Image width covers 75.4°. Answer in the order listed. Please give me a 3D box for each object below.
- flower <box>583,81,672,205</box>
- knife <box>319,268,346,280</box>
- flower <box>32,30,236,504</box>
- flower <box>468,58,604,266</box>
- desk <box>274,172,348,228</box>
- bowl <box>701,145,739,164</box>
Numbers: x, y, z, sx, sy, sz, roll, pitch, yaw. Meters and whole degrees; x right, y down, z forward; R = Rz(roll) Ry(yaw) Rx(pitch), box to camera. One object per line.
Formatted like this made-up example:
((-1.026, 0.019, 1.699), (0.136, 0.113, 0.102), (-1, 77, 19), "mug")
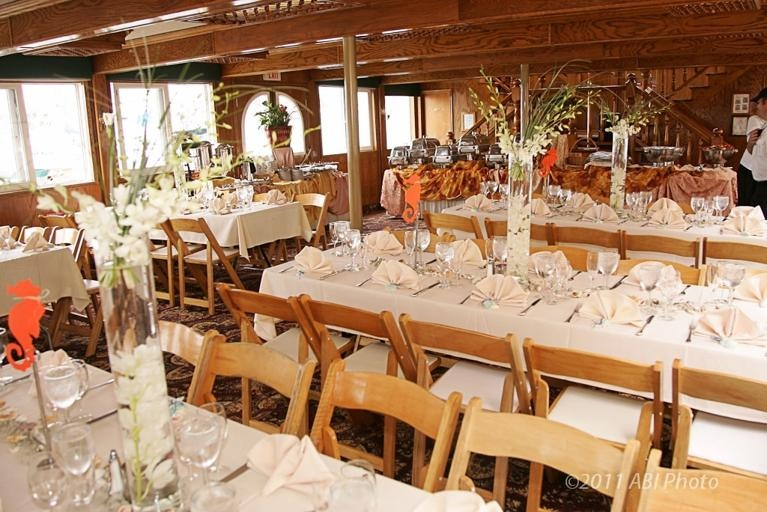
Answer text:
((3.211, -1.365, 6.196), (1.102, 1.488, 1.014), (-4, 16, -30), "flower")
((-0.373, 0.126, 3.653), (0.065, 0.021, 0.202), (18, 20, 38), "knife")
((-0.716, 0.100, 1.474), (0.422, 1.369, 0.359), (-9, 13, -30), "flower")
((0.875, -0.529, 3.328), (0.663, 1.129, 0.545), (1, 24, 9), "flower")
((-1.478, -1.100, 9.281), (1.138, 0.820, 1.814), (-3, 10, 10), "desk")
((5.244, -1.600, 7.806), (0.398, 0.323, 1.104), (4, 11, 32), "bowl")
